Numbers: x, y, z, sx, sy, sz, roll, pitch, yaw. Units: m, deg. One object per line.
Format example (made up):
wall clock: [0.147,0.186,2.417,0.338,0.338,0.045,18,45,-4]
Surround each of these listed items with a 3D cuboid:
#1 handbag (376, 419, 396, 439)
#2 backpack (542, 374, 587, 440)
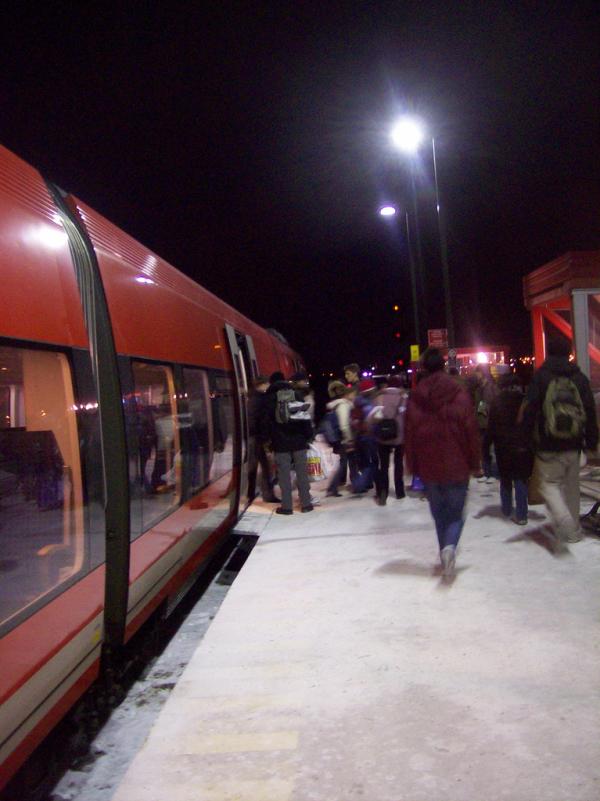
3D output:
handbag: [1.114,0.395,7.443,0.279,0.243,0.429,4,6,3]
backpack: [2.407,0.069,4.922,0.405,0.543,0.153,1,-10,-5]
